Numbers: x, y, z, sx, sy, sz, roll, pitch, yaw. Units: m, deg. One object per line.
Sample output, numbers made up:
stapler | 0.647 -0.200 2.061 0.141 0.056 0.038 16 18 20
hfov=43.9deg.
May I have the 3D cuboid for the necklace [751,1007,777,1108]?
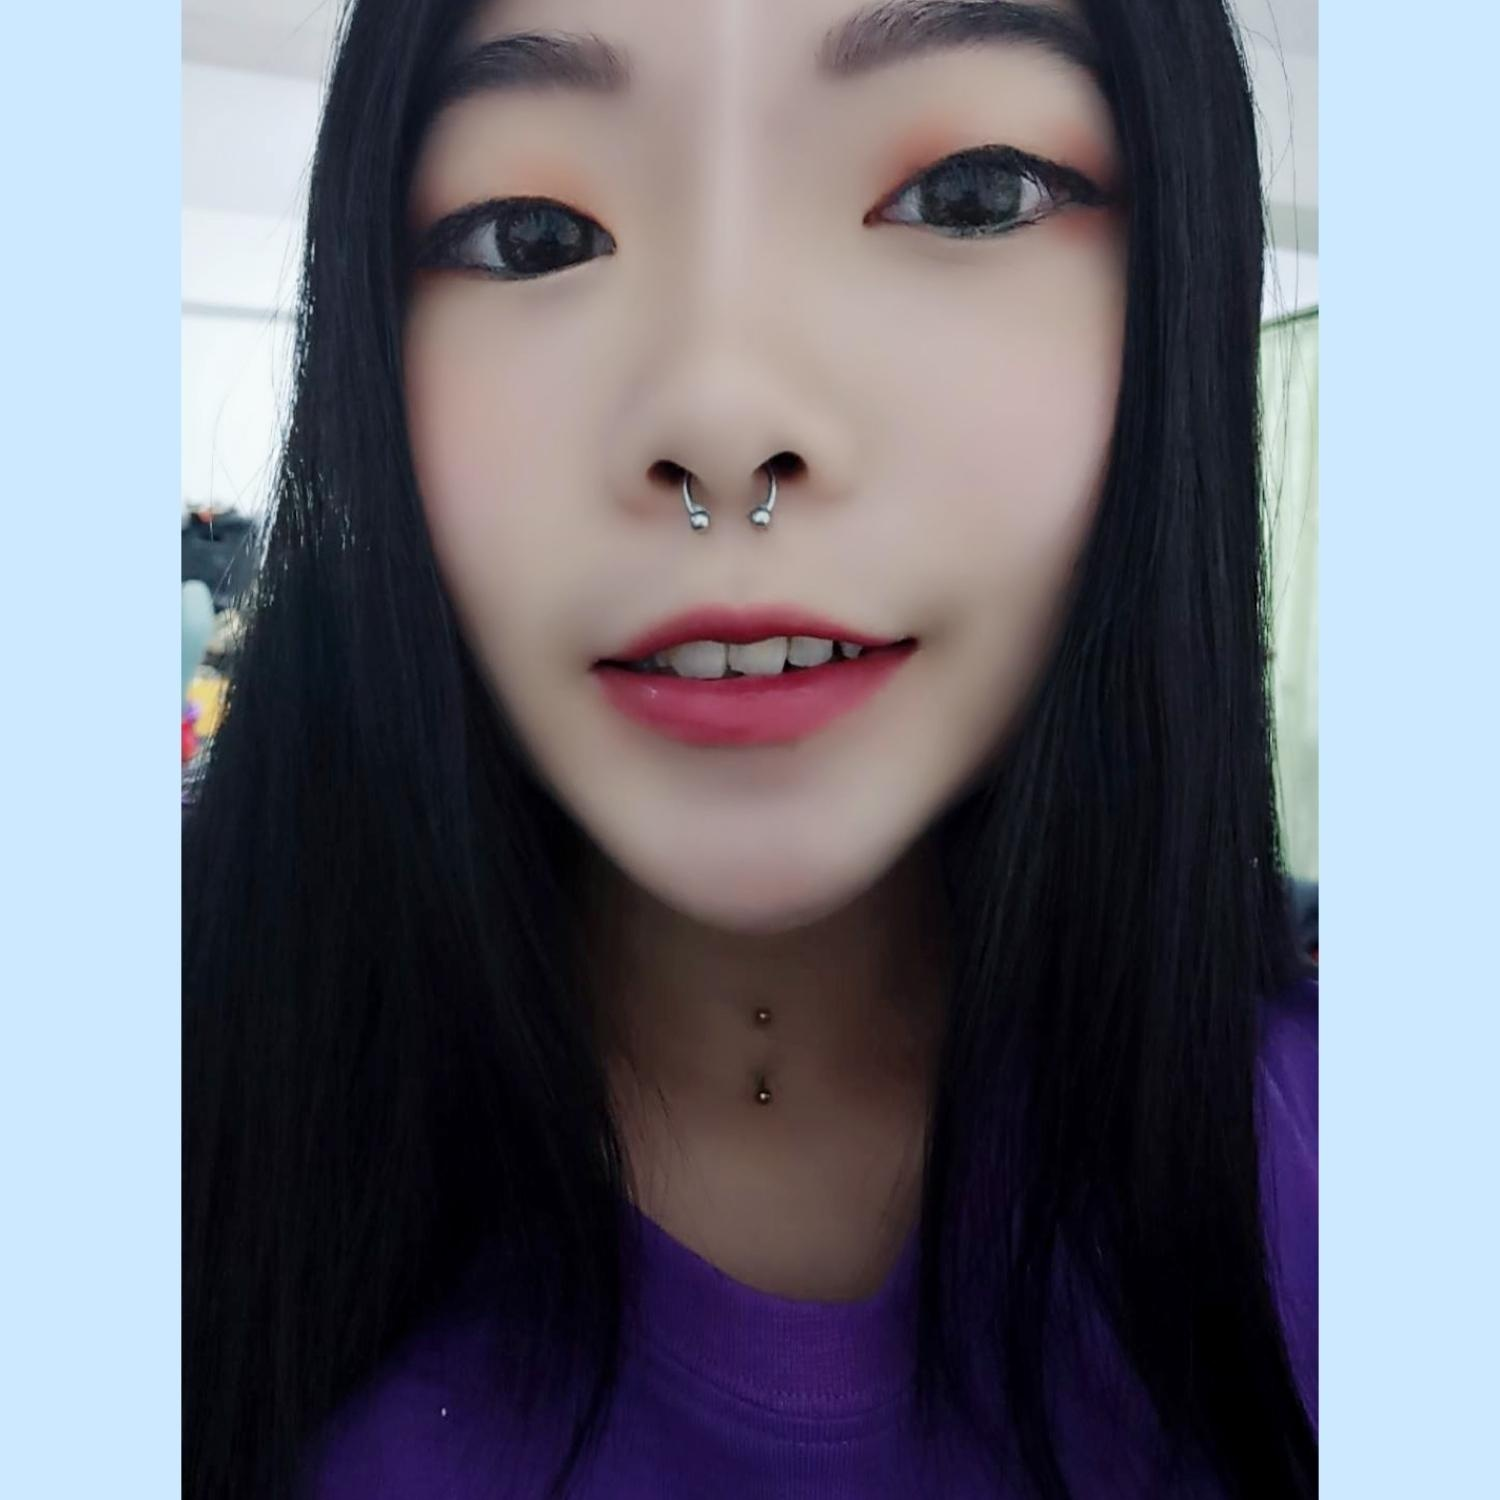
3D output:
necklace | 0.009 0.257 1.549 0.017 0.087 0.019 -1 -4 5
